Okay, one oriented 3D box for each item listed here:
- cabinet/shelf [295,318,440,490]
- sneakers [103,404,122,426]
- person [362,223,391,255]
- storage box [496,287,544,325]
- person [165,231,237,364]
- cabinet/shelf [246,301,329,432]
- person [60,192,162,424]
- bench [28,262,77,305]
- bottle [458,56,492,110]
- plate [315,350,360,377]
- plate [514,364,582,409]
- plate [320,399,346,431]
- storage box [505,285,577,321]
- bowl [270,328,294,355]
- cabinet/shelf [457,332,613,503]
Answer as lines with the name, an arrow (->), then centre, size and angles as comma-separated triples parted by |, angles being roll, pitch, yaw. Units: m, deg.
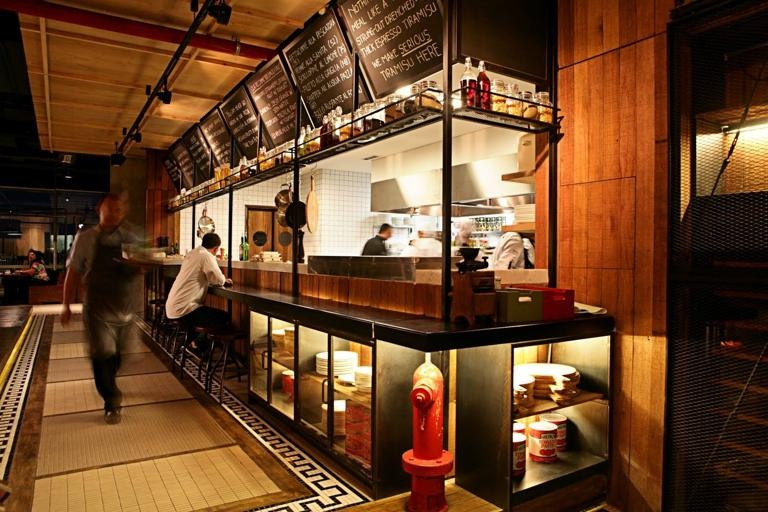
cabinet/shelf -> -0.106, 1.171, 4.183 | 0.538, 1.089, 1.361 | 4, -3, -27
sneakers -> -2.696, 1.550, 5.287 | 0.154, 0.162, 0.204 | -3, 7, -26
person -> -0.131, -0.274, 8.609 | 0.405, 0.515, 0.839 | 0, 6, -3
storage box -> 0.996, 0.355, 3.934 | 0.274, 0.159, 0.269 | -1, 1, -24
person -> -2.209, 0.482, 6.455 | 0.691, 1.507, 1.188 | -4, 8, -33
cabinet/shelf -> -0.913, 1.065, 5.145 | 0.411, 0.990, 1.261 | -2, 4, -38
person -> -2.740, 0.498, 5.310 | 0.765, 2.241, 0.534 | -3, 7, -23
bench -> -7.105, 0.606, 11.290 | 0.818, 0.874, 1.133 | 2, -3, -20
bottle -> 0.687, -1.327, 4.089 | 0.313, 0.424, 0.234 | -3, 7, -26
plate -> -0.392, 0.924, 4.617 | 0.329, 0.131, 0.318 | 1, -1, -2
plate -> 1.319, 0.988, 4.213 | 0.344, 0.115, 0.340 | 1, 1, -41
plate -> -0.468, 1.378, 4.722 | 0.295, 0.206, 0.286 | 2, -4, -10
storage box -> 1.265, 0.348, 4.098 | 0.249, 0.192, 0.449 | -2, 1, -20
bowl -> -1.017, 0.808, 5.274 | 0.273, 0.194, 0.290 | 1, 2, 0
cabinet/shelf -> 1.168, 1.238, 4.187 | 1.103, 1.302, 0.661 | -4, 7, -31
